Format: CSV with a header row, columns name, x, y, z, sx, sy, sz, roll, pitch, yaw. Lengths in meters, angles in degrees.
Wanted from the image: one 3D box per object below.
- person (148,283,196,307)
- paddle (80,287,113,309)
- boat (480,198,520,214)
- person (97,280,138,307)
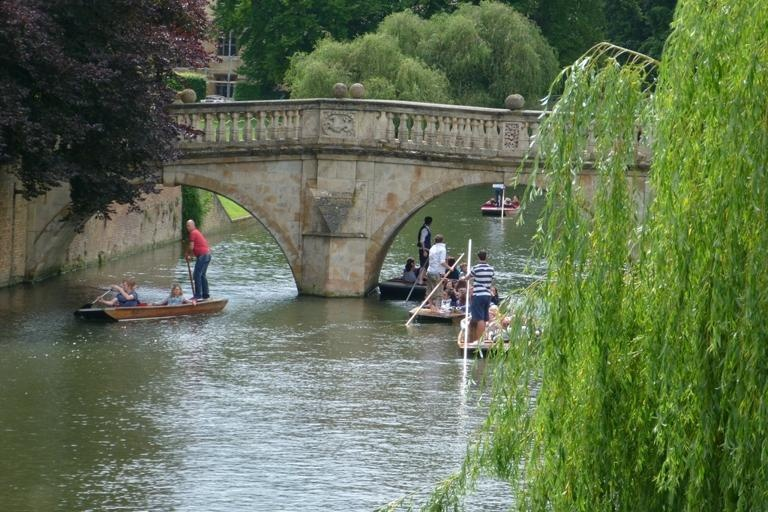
name,x,y,z,sx,sy,sz,roll,pitch,yaw
person,-4.437,0.831,35.500,0.429,0.420,0.906,-1,-4,5
paddle,-6.266,0.990,35.533,0.235,0.207,1.714,5,-17,-24
boat,4.617,-1.898,63.817,1.688,0.852,3.332,0,1,12
person,-5.529,0.751,34.794,0.904,0.777,0.520,2,-5,-23
